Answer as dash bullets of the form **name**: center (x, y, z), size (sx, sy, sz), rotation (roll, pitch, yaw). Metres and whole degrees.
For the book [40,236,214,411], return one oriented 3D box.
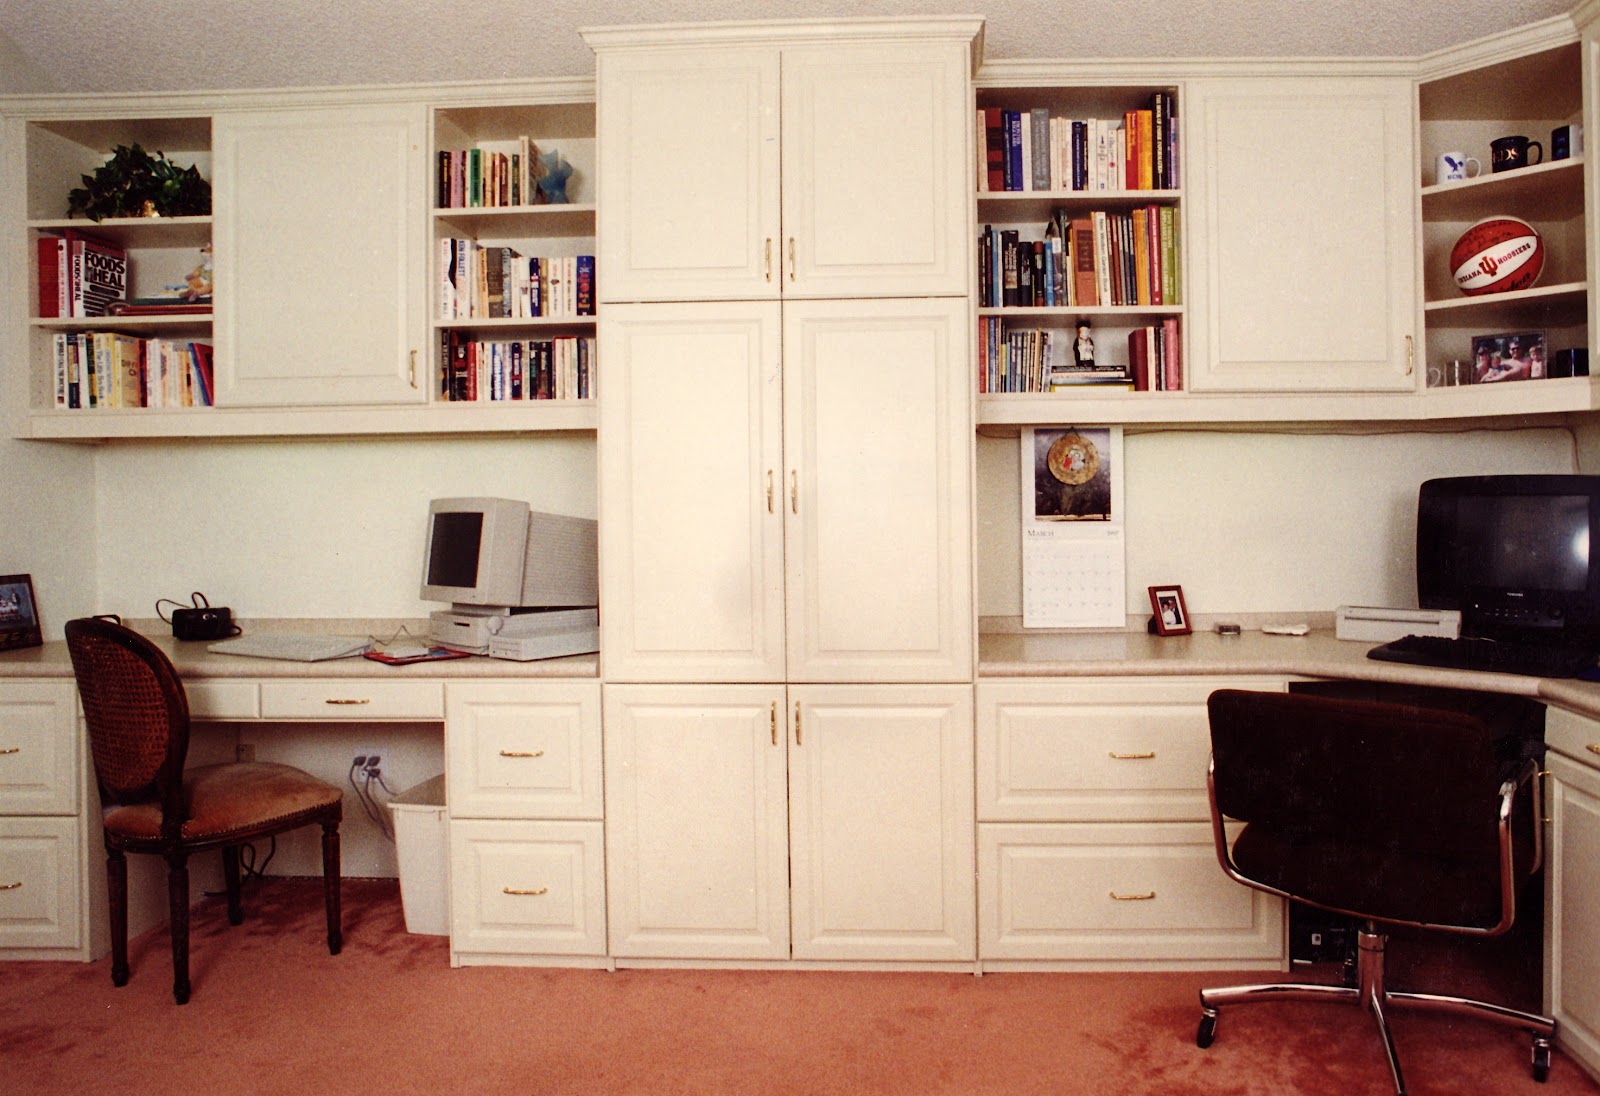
- **book**: center (-2.589, -0.835, 5.260), size (0.765, 0.657, 0.232), rotation (0, -2, -4)

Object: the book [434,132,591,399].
- **book**: center (-1.081, -1.049, 5.210), size (0.593, 1.012, 0.377), rotation (-2, 4, -6)

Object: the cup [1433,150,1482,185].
- **cup**: center (2.367, -1.367, 4.976), size (0.169, 0.132, 0.103), rotation (1, 4, 25)

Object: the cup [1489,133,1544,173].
- **cup**: center (2.546, -1.427, 4.984), size (0.138, 0.135, 0.210), rotation (-4, 7, -39)

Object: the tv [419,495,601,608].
- **tv**: center (-1.093, 0.038, 5.157), size (0.495, 0.339, 0.494), rotation (-2, -5, 44)

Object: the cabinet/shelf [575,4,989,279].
- **cabinet/shelf**: center (-0.044, -1.399, 4.779), size (1.098, 0.824, 0.350), rotation (0, -1, 5)

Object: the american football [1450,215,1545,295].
- **american football**: center (2.483, -1.043, 4.926), size (0.280, 0.282, 0.172), rotation (0, 4, 19)

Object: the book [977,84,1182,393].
- **book**: center (1.029, -1.112, 5.101), size (0.741, 1.087, 0.338), rotation (-1, 4, 8)

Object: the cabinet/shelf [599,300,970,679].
- **cabinet/shelf**: center (0.004, -0.222, 4.776), size (1.451, 1.251, 0.479), rotation (1, 0, 1)
